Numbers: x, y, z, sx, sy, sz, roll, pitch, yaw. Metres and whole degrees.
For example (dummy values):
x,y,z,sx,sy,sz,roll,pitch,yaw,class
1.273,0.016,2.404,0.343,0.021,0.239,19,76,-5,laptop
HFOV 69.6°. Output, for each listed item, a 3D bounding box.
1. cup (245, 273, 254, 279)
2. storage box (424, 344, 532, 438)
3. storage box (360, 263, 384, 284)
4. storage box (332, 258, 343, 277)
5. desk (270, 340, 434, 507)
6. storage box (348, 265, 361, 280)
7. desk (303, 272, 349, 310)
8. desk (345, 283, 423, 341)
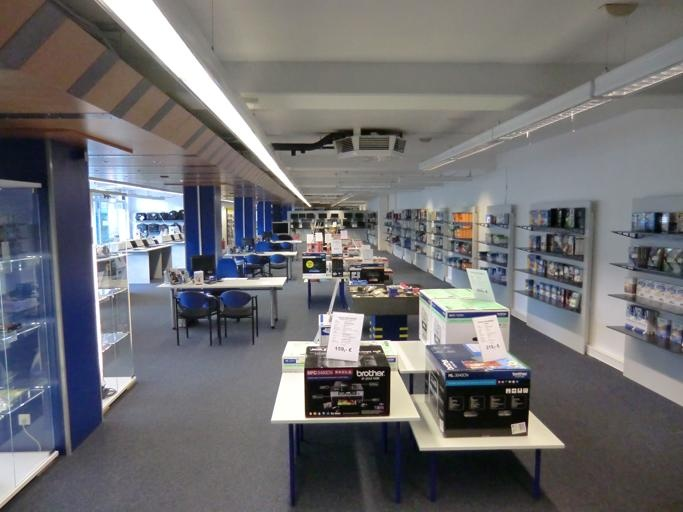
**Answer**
x,y,z,sx,sy,sz,roll,pitch,yaw,class
-2.545,0.536,13.478,0.237,0.134,0.231,1,5,0,cup
1.213,1.214,4.605,0.749,0.579,0.773,0,2,2,storage box
0.576,0.349,9.278,0.463,0.285,0.885,0,11,5,storage box
-0.088,0.215,10.404,0.247,0.365,0.318,-1,11,-1,storage box
0.026,1.533,4.931,1.257,1.258,1.258,-1,11,0,desk
0.245,0.300,9.478,0.278,0.284,0.204,1,-11,0,storage box
-0.391,0.878,10.844,1.255,0.928,0.714,0,7,-1,desk
0.677,0.799,7.790,0.913,0.700,0.926,0,2,-17,desk
